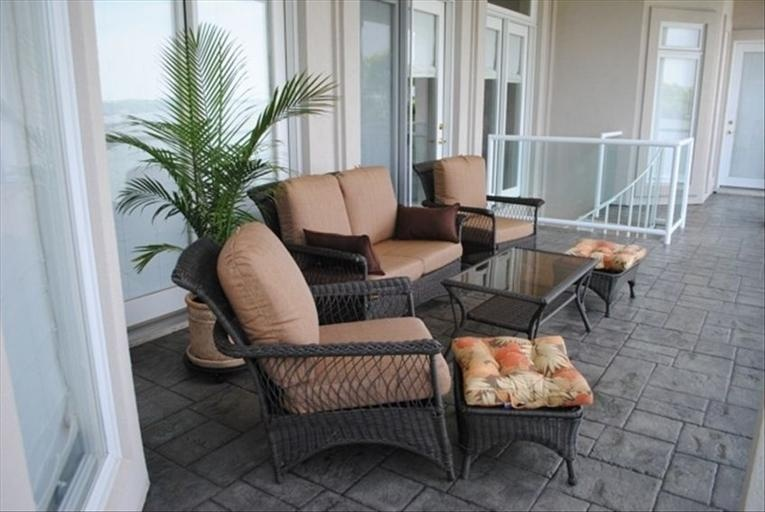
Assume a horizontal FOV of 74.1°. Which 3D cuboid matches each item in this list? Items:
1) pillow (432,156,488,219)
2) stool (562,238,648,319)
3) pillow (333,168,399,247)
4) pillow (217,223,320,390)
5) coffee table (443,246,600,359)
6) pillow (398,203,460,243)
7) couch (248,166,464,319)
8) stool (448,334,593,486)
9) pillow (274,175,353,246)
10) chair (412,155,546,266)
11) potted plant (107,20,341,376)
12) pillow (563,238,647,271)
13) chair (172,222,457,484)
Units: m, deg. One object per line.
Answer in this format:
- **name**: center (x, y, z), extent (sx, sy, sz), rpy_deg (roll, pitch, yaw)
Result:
- **pillow**: center (0.776, -0.706, 4.954), extent (0.622, 0.512, 0.197), rpy_deg (-7, 10, -33)
- **stool**: center (1.913, 0.061, 4.309), extent (0.665, 0.295, 0.535), rpy_deg (-3, 23, -41)
- **pillow**: center (-0.145, -0.461, 4.219), extent (0.230, 0.575, 0.635), rpy_deg (-3, 15, 35)
- **pillow**: center (-0.574, 0.158, 2.413), extent (0.147, 0.481, 0.466), rpy_deg (-20, 54, 3)
- **coffee table**: center (1.049, 0.349, 3.736), extent (0.747, 0.525, 1.118), rpy_deg (14, 23, 37)
- **pillow**: center (0.365, -0.289, 4.303), extent (0.584, 0.334, 0.193), rpy_deg (5, 14, 19)
- **couch**: center (-0.092, -0.124, 3.990), extent (1.016, 0.934, 1.647), rpy_deg (13, 20, 25)
- **stool**: center (0.661, 0.681, 2.554), extent (0.656, 0.456, 0.693), rpy_deg (0, 19, 4)
- **pillow**: center (-0.457, -0.327, 3.786), extent (0.230, 0.595, 0.673), rpy_deg (-27, 10, -41)
- **chair**: center (0.919, -0.453, 4.956), extent (1.176, 0.993, 0.962), rpy_deg (10, 23, 24)
- **potted plant**: center (-1.039, -0.604, 3.402), extent (1.579, 1.812, 1.287), rpy_deg (5, 3, -8)
- **pillow**: center (1.825, -0.020, 4.168), extent (0.403, 0.114, 0.418), rpy_deg (7, 19, 42)
- **chair**: center (-0.312, 0.427, 2.626), extent (1.406, 1.064, 0.954), rpy_deg (-3, 15, -11)
